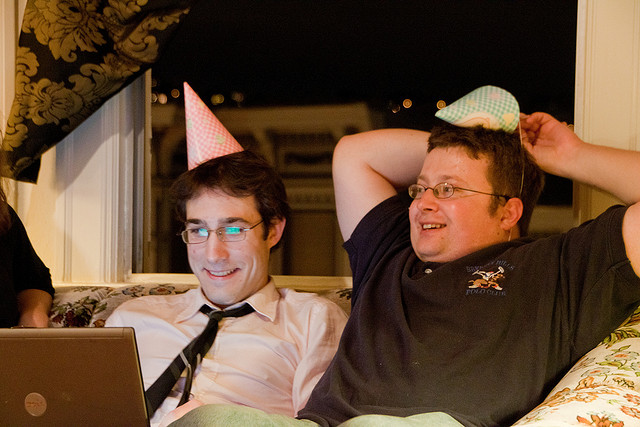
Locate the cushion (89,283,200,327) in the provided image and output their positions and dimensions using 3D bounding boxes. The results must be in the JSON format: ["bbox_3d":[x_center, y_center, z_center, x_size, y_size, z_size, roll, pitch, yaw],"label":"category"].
[{"bbox_3d":[-0.791,0.365,2.953,0.300,0.075,0.229,9,30,3],"label":"cushion"}]

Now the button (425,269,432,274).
[{"bbox_3d":[0.427,0.226,2.646,0.027,0.015,0.034,-1,-2,5],"label":"button"}]

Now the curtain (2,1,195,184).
[{"bbox_3d":[-1.089,-0.589,3.211,0.788,1.019,0.138,14,-5,-12],"label":"curtain"}]

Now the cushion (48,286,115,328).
[{"bbox_3d":[-1.035,0.428,2.940,0.218,0.068,0.225,3,37,5],"label":"cushion"}]

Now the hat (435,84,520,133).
[{"bbox_3d":[0.661,-0.431,2.777,0.250,0.094,0.190,-8,24,1],"label":"hat"}]

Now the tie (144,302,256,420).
[{"bbox_3d":[-0.504,0.550,2.650,0.243,0.482,0.041,19,-22,18],"label":"tie"}]
